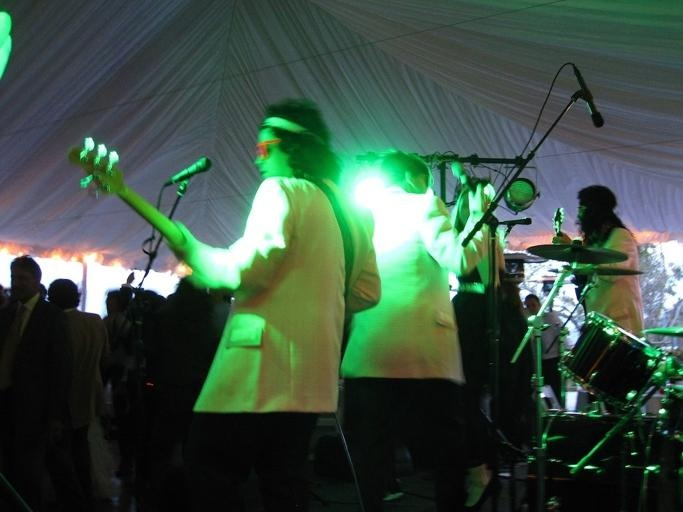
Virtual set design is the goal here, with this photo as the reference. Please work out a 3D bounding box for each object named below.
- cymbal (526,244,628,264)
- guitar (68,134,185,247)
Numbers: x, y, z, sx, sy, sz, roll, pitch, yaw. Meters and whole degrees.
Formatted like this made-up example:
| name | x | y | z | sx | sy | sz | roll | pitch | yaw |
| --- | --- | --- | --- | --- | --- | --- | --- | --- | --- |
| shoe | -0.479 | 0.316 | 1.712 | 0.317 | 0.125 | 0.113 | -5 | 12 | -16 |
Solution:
| name | x | y | z | sx | sy | sz | roll | pitch | yaw |
| --- | --- | --- | --- | --- | --- | --- | --- | --- | --- |
| cymbal | 1.725 | 0.004 | 5.147 | 0.456 | 0.150 | 0.568 | 2 | -1 | -39 |
| guitar | -0.961 | -0.284 | 3.116 | 0.511 | 0.408 | 0.161 | 12 | -14 | -22 |
